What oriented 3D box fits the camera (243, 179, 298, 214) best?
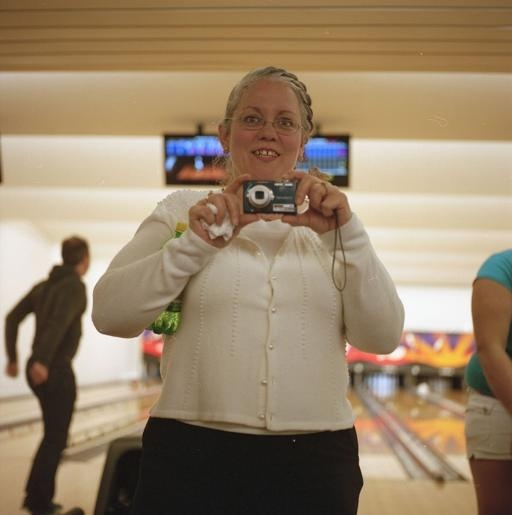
[{"bbox_3d":[0.034,-0.126,1.255,0.118,0.071,0.065,1,4,0],"label":"camera"}]
